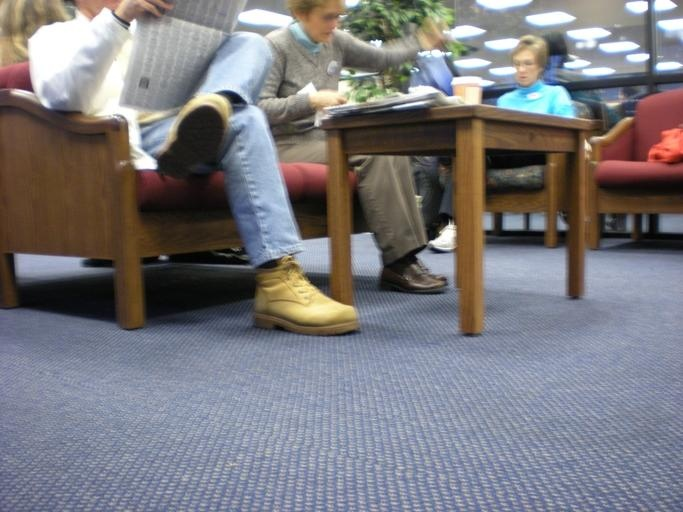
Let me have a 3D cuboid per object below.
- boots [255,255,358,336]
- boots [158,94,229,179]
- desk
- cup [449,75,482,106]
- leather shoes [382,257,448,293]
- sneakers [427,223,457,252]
[{"bbox_3d":[-0.099,0.101,1.280,0.344,0.171,0.128,5,13,39],"label":"boots"},{"bbox_3d":[-0.379,-0.288,1.267,0.118,0.281,0.104,21,39,-38],"label":"boots"},{"bbox_3d":[0.423,-0.128,1.478,0.657,0.552,0.800,0,6,-22],"label":"desk"},{"bbox_3d":[0.346,-0.457,1.364,0.074,0.087,0.163,-1,10,12],"label":"cup"},{"bbox_3d":[0.305,0.078,1.763,0.297,0.109,0.103,0,3,15],"label":"leather shoes"},{"bbox_3d":[0.655,-0.113,3.085,0.178,0.161,0.450,0,1,29],"label":"sneakers"}]
